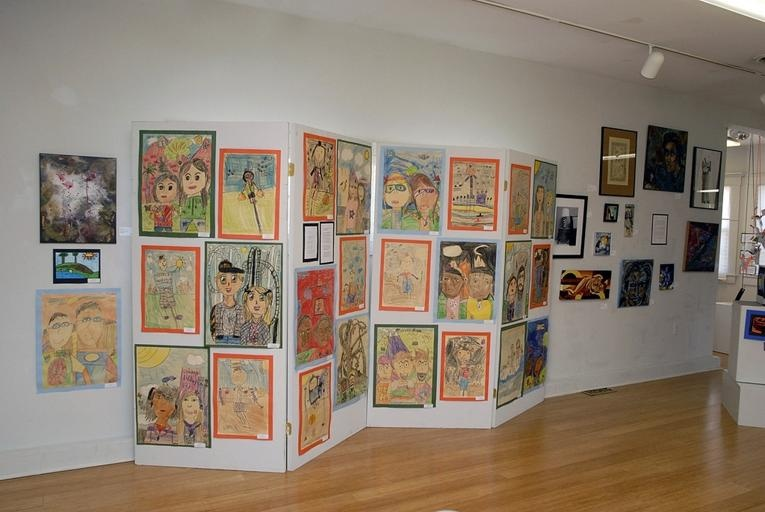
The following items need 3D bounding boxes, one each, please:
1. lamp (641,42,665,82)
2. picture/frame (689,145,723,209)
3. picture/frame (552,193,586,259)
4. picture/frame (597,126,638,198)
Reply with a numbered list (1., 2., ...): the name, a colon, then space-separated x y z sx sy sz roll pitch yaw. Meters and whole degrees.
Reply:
1. lamp: 3.065 -2.278 6.667 0.207 0.384 0.362 21 45 28
2. picture/frame: 4.775 -1.205 8.685 0.927 1.242 0.086 -1 3 -40
3. picture/frame: 2.388 -0.401 7.569 0.829 0.968 0.035 -2 3 -39
4. picture/frame: 3.183 -1.260 7.935 0.664 0.911 0.156 -4 14 -24
